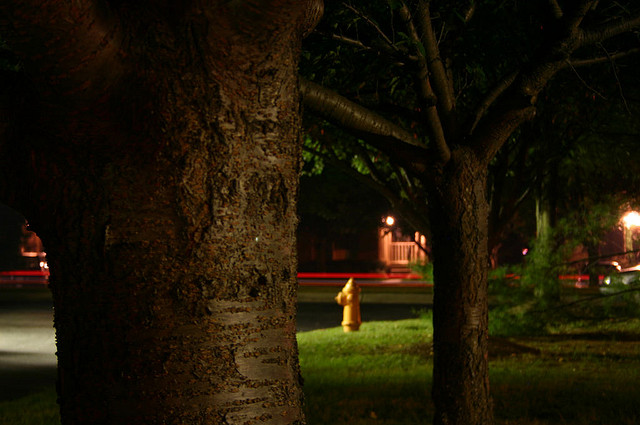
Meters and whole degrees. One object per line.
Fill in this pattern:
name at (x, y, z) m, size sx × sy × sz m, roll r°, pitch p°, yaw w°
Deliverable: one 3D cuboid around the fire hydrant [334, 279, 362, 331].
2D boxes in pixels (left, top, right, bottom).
fire hydrant at (0.561, 1.753, 17.657) m, size 0.445 × 0.944 × 0.504 m, roll -2°, pitch -4°, yaw 37°
